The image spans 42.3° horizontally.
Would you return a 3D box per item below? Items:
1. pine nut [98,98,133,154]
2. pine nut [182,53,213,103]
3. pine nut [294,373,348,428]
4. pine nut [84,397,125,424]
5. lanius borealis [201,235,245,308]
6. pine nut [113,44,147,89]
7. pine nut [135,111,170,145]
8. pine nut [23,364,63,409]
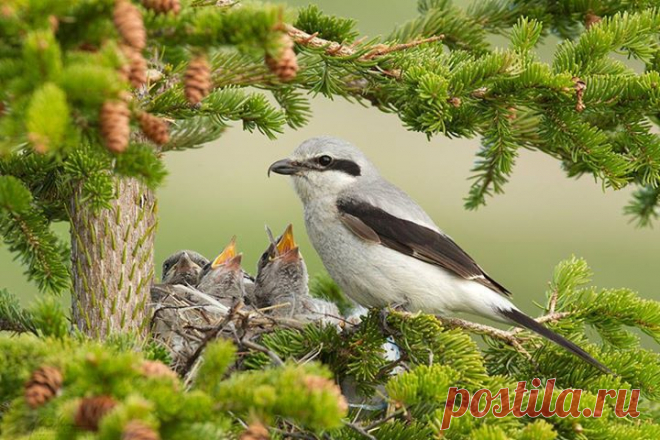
[{"bbox_3d":[-0.939,-0.420,3.817,0.125,0.115,0.239,-5,-89,23],"label":"pine nut"},{"bbox_3d":[-0.616,-0.678,3.962,0.113,0.379,0.173,0,-48,-11],"label":"pine nut"},{"bbox_3d":[-0.016,0.779,3.731,0.230,0.131,0.201,50,-32,-4],"label":"pine nut"},{"bbox_3d":[-1.021,0.844,3.786,0.113,0.080,0.121,3,-23,-6],"label":"pine nut"},{"bbox_3d":[-0.760,0.391,6.343,0.359,0.337,0.693,15,-36,-1],"label":"lanius borealis"},{"bbox_3d":[-0.883,-0.694,3.801,0.105,0.073,0.167,-7,-78,6],"label":"pine nut"},{"bbox_3d":[-0.818,-0.434,4.009,0.202,0.097,0.098,30,-42,18],"label":"pine nut"},{"bbox_3d":[-1.274,0.742,3.918,0.120,0.214,0.124,41,-73,-12],"label":"pine nut"}]
